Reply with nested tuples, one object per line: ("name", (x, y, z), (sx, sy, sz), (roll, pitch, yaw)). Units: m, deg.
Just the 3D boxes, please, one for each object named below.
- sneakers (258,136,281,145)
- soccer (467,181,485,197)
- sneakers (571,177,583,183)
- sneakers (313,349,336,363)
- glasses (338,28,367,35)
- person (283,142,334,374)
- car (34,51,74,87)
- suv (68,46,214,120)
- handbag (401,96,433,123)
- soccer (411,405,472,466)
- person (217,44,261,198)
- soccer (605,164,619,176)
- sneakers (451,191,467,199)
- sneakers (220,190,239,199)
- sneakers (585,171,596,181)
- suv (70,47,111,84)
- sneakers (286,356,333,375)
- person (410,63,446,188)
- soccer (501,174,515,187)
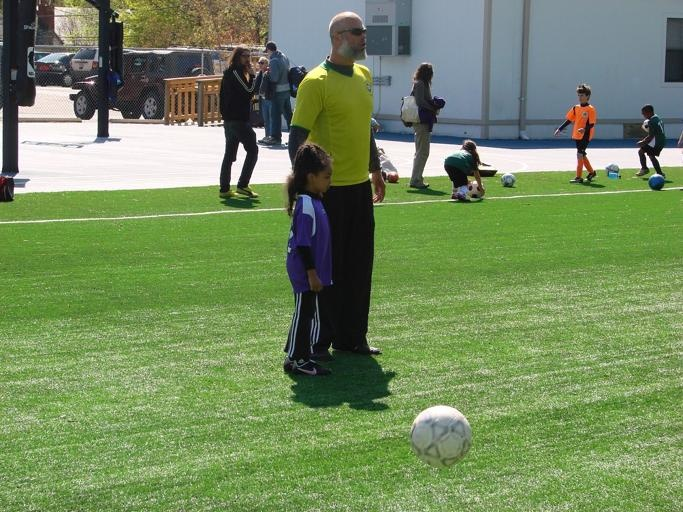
("sneakers", (-1.628, -2.591, 23.456), (0.415, 0.179, 0.234), (2, 2, -33))
("soccer", (1.966, -0.987, 15.154), (0.207, 0.216, 0.213), (0, 2, 26))
("sneakers", (3.910, -1.278, 17.242), (0.083, 0.103, 0.241), (-2, 7, -38))
("sneakers", (-0.140, 0.781, 7.939), (0.143, 0.060, 0.079), (-6, -5, 41))
("glasses", (0.075, -1.709, 7.818), (0.205, 0.058, 0.077), (-2, 15, -12))
("person", (-0.257, 0.034, 7.635), (0.346, 1.692, 0.327), (0, 14, -3))
("car", (-13.491, -8.677, 48.227), (1.631, 1.482, 2.067), (-4, 16, -17))
("suv", (-5.871, -4.880, 30.370), (3.869, 1.932, 2.423), (4, 12, 12))
("handbag", (1.198, -2.300, 16.192), (0.225, 0.504, 0.413), (-1, -2, -35))
("soccer", (0.639, 1.123, 6.531), (0.369, 0.401, 0.370), (1, -2, -4))
("person", (-1.481, -1.866, 14.535), (0.525, 2.100, 0.700), (-1, 14, -7))
("soccer", (4.761, -1.494, 18.146), (0.188, 0.245, 0.242), (2, 17, 7))
("sneakers", (1.713, -0.895, 14.960), (0.224, 0.165, 0.136), (3, 15, 7))
("sneakers", (-1.599, -0.880, 14.660), (0.219, 0.101, 0.096), (-7, 15, -15))
("sneakers", (4.253, -1.363, 17.616), (0.082, 0.116, 0.256), (-6, 34, 41))
("suv", (-8.001, -5.943, 31.906), (1.139, 1.131, 2.062), (0, 26, 1))
("sneakers", (-0.243, 0.834, 7.716), (0.352, 0.150, 0.131), (0, 8, -6))
("person", (1.341, -2.066, 16.385), (0.495, 1.955, 1.079), (1, 14, 3))
("soccer", (2.680, -1.215, 16.591), (0.200, 0.188, 0.270), (1, 15, 2))
